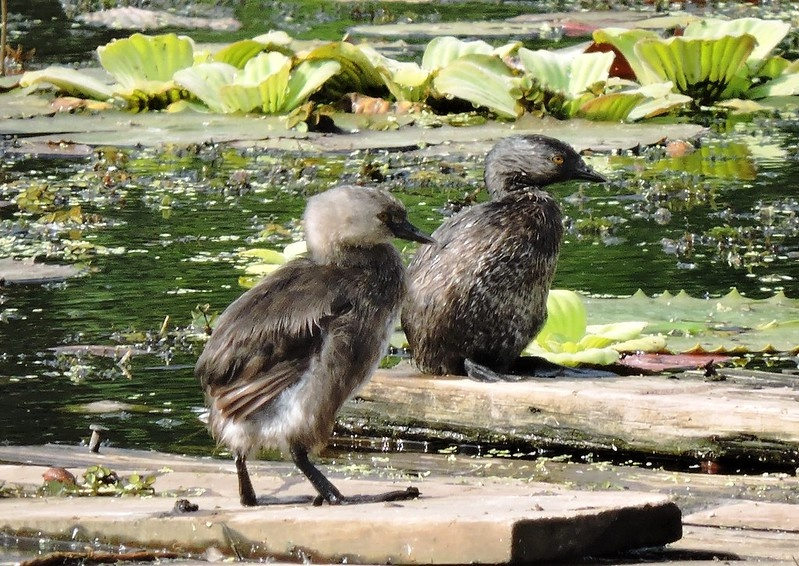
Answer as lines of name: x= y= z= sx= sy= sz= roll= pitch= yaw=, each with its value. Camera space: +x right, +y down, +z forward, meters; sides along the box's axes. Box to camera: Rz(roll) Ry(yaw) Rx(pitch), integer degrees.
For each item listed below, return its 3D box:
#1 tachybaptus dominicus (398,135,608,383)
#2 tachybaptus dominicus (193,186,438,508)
tachybaptus dominicus: x=0.576 y=-0.162 z=6.591 sx=0.702 sy=1.333 sz=0.835 roll=6 pitch=11 yaw=43
tachybaptus dominicus: x=-0.443 y=0.251 z=5.457 sx=1.261 sy=1.249 sz=0.929 roll=-11 pitch=11 yaw=-22
